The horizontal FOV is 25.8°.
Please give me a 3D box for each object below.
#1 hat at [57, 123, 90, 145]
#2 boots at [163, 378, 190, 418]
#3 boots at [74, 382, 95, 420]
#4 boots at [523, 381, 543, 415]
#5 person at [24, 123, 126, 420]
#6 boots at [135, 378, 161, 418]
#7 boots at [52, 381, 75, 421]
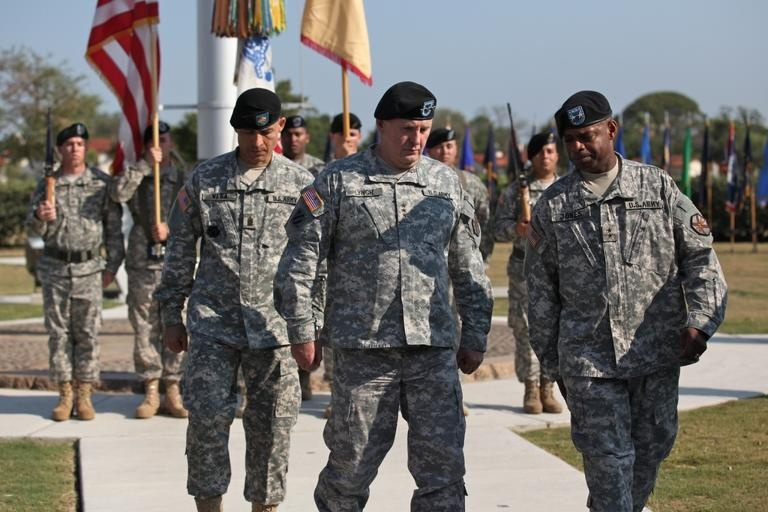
[{"bbox_3d":[-3.792,-1.486,20.376,0.288,0.119,0.312,-4,-3,-37],"label":"hat"},{"bbox_3d":[-2.508,1.769,20.649,0.211,0.437,0.473,-8,15,-36],"label":"boots"},{"bbox_3d":[-3.613,1.746,20.442,0.198,0.374,0.562,-2,21,-17],"label":"boots"},{"bbox_3d":[1.859,1.741,20.852,0.200,0.347,0.547,3,9,-8],"label":"boots"},{"bbox_3d":[-3.721,0.182,20.437,1.122,3.589,0.516,0,1,-11],"label":"person"},{"bbox_3d":[-2.873,1.756,20.609,0.202,0.473,0.520,-2,4,17],"label":"boots"},{"bbox_3d":[-3.869,1.766,20.351,0.220,0.430,0.642,-1,4,4],"label":"boots"}]
